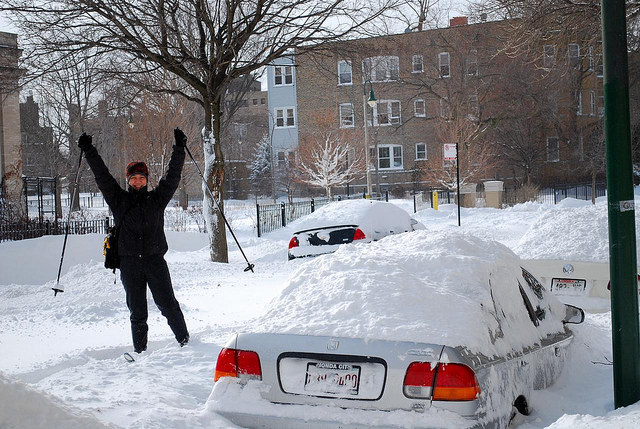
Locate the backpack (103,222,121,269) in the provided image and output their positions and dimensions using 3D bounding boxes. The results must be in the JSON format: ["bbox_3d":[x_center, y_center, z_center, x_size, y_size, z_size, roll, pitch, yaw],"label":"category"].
[{"bbox_3d":[-3.416,0.547,11.890,0.211,0.722,0.386,-5,5,-26],"label":"backpack"}]

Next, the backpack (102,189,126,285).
[{"bbox_3d":[-3.376,0.485,11.940,0.253,1.301,0.338,1,-5,40],"label":"backpack"}]

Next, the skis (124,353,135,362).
[{"bbox_3d":[-3.065,2.303,11.687,0.036,0.122,0.119,-44,8,-29],"label":"skis"}]
